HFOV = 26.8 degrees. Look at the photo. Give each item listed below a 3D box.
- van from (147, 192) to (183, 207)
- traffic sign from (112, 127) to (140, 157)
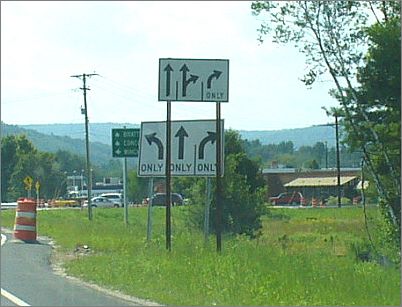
[{"bbox_3d":[-3.682,5.082,95.885,2.818,1.766,1.746,3,-3,-6],"label":"van"},{"bbox_3d":[-4.019,-0.637,47.911,1.875,1.732,0.156,-1,-13,20],"label":"traffic sign"}]
